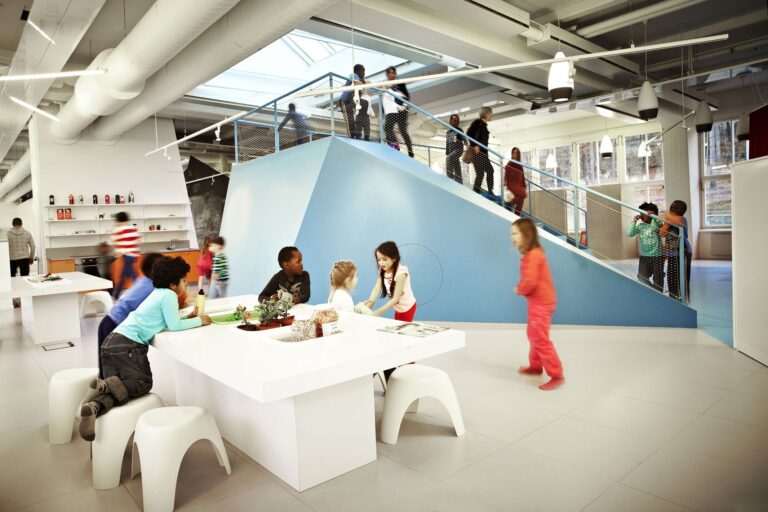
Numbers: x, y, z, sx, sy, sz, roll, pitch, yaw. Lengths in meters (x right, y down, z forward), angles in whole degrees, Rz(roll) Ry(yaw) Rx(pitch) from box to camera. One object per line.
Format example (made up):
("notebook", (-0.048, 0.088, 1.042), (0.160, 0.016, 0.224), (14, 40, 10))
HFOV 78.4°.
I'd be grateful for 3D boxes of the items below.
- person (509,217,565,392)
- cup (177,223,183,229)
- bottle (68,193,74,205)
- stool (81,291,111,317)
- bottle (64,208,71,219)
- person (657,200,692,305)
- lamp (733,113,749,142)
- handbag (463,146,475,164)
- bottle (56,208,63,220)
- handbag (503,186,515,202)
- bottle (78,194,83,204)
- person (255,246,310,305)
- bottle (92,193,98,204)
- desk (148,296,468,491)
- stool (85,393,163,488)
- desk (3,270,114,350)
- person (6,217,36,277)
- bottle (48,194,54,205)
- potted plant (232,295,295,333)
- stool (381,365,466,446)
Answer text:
("person", (1.882, 0.572, 5.746), (0.468, 1.987, 0.797), (-7, 15, -18))
("cup", (-6.119, -0.895, 14.155), (0.237, 0.240, 0.126), (0, -4, -27))
("bottle", (-8.200, -1.474, 12.322), (0.145, 0.248, 0.129), (-11, 17, -31))
("stool", (-5.784, 0.960, 9.466), (0.617, 0.549, 0.618), (-2, 0, -17))
("bottle", (-8.231, -1.108, 12.238), (0.136, 0.253, 0.167), (-7, 15, -18))
("person", (4.899, -0.099, 8.016), (0.524, 1.757, 0.536), (-18, 19, -30))
("lamp", (9.068, -3.249, 11.879), (0.211, 0.611, 0.548), (6, 17, 30))
("handbag", (1.603, -1.906, 8.869), (0.202, 0.284, 0.086), (13, 2, 31))
("bottle", (-8.376, -1.088, 12.174), (0.188, 0.284, 0.162), (-12, 17, -33))
("handbag", (2.354, -1.177, 8.882), (0.200, 0.278, 0.099), (-7, 5, -2))
("bottle", (-8.020, -1.493, 12.439), (0.125, 0.244, 0.234), (-7, 15, -18))
("person", (-1.394, 0.249, 6.576), (0.863, 0.913, 0.573), (-10, 16, -42))
("bottle", (-7.777, -1.544, 12.659), (0.150, 0.236, 0.125), (-11, 17, -31))
("desk", (-0.721, 1.232, 4.507), (1.602, 0.863, 2.523), (-2, 2, -42))
("stool", (-2.504, 1.764, 4.689), (0.698, 0.653, 0.712), (4, -6, -40))
("desk", (-5.707, 0.865, 8.203), (1.243, 0.796, 1.602), (-2, 4, -38))
("person", (-8.629, -0.222, 11.155), (0.546, 1.488, 1.439), (-13, 18, -36))
("bottle", (-8.552, -1.453, 12.108), (0.084, 0.245, 0.183), (-6, 15, -14))
("potted plant", (-1.268, 0.593, 5.010), (0.341, 0.230, 0.453), (-3, 2, -30))
("stool", (0.399, 1.427, 4.951), (0.778, 0.691, 0.761), (-5, -5, 39))
